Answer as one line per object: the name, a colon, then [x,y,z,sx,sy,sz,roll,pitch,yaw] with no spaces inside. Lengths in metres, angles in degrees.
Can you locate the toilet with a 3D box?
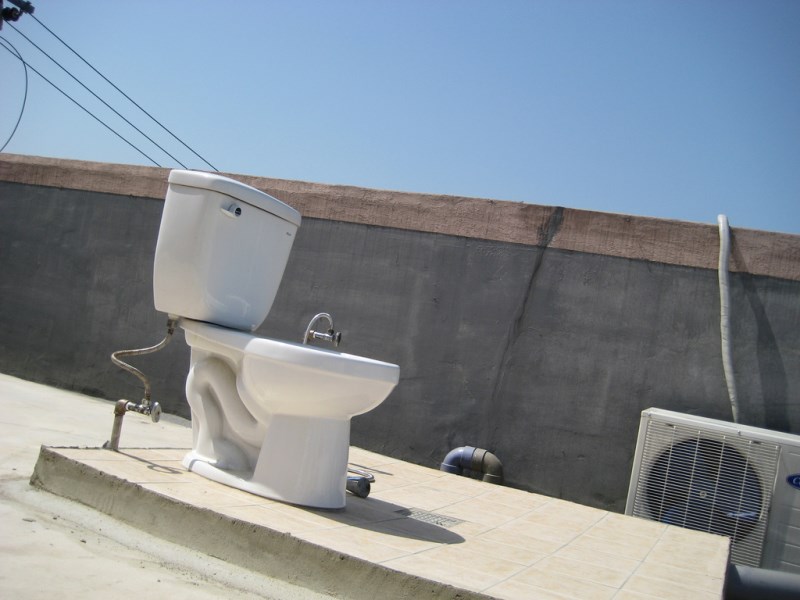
toilet: [-0.533,0.131,2.376,1.122,1.288,0.441,7,-4,24]
